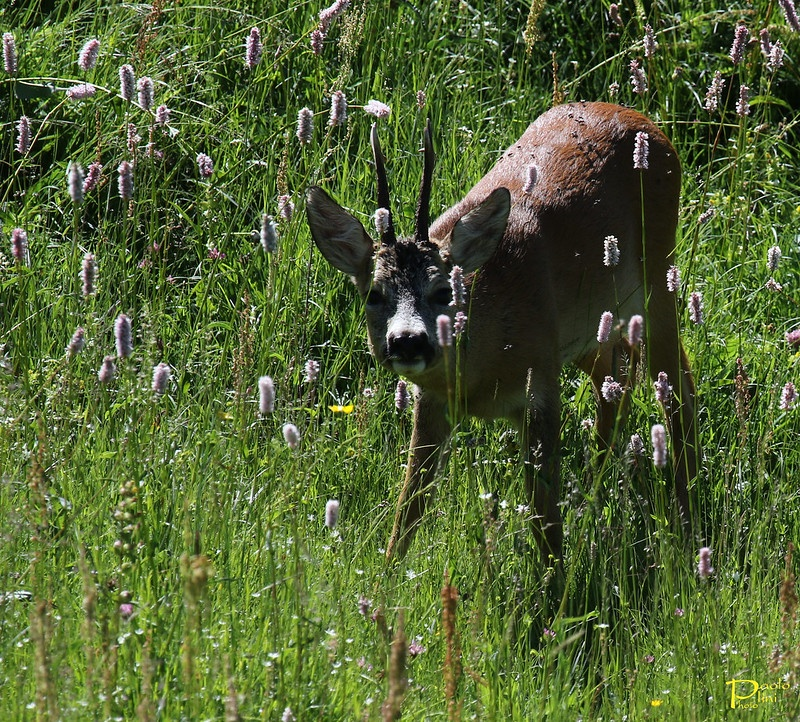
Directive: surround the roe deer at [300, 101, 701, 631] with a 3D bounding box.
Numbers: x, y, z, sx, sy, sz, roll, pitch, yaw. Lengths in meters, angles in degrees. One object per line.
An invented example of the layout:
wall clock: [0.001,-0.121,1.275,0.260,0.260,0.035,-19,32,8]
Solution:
roe deer: [0.611,-0.131,5.126,0.757,2.433,2.348,5,19,39]
